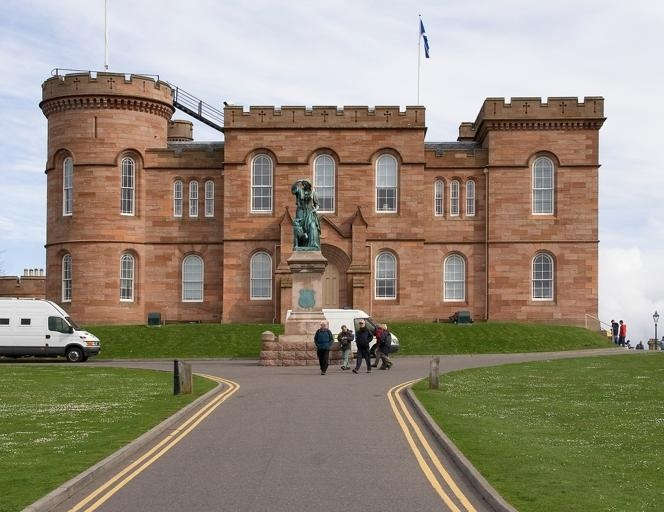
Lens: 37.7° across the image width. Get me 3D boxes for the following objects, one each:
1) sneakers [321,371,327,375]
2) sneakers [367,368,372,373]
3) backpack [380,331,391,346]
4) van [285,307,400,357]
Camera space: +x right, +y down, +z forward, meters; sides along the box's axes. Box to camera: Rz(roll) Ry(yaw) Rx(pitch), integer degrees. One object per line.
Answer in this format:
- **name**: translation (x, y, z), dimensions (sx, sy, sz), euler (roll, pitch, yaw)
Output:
- **sneakers**: translation (-0.237, 3.836, 32.032), dimensions (0.123, 0.111, 0.201), euler (-4, -5, 1)
- **sneakers**: translation (1.315, 3.945, 33.646), dimensions (0.076, 0.147, 0.232), euler (-3, -19, 8)
- **backpack**: translation (1.914, 2.905, 34.525), dimensions (0.374, 0.683, 0.700), euler (-1, -2, 19)
- **van**: translation (1.449, 3.176, 40.959), dimensions (4.979, 2.106, 1.941), euler (0, -3, -5)
